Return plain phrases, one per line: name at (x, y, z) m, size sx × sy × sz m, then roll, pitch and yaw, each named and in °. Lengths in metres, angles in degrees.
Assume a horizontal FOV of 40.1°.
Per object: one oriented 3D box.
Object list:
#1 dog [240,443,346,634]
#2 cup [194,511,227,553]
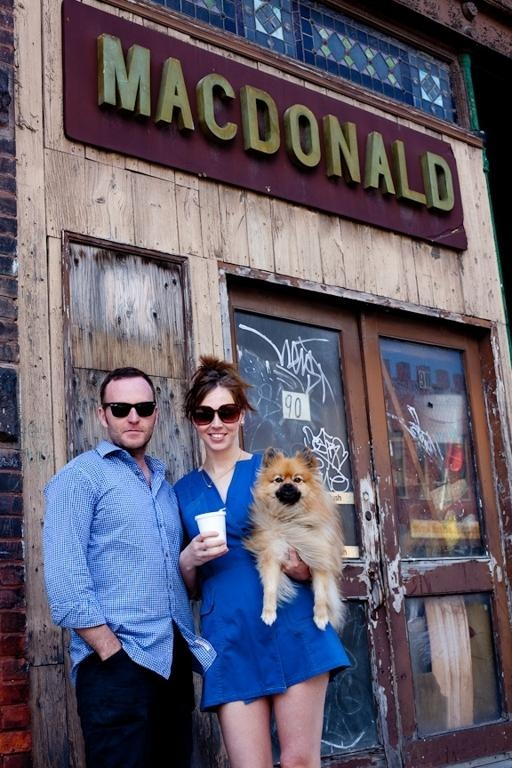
dog at (0.123, 0.423, 2.071) m, size 0.263 × 0.589 × 0.602 m, roll 1°, pitch 16°, yaw 5°
cup at (-0.117, 0.392, 1.900) m, size 0.085 × 0.102 × 0.086 m, roll -11°, pitch -15°, yaw -3°
